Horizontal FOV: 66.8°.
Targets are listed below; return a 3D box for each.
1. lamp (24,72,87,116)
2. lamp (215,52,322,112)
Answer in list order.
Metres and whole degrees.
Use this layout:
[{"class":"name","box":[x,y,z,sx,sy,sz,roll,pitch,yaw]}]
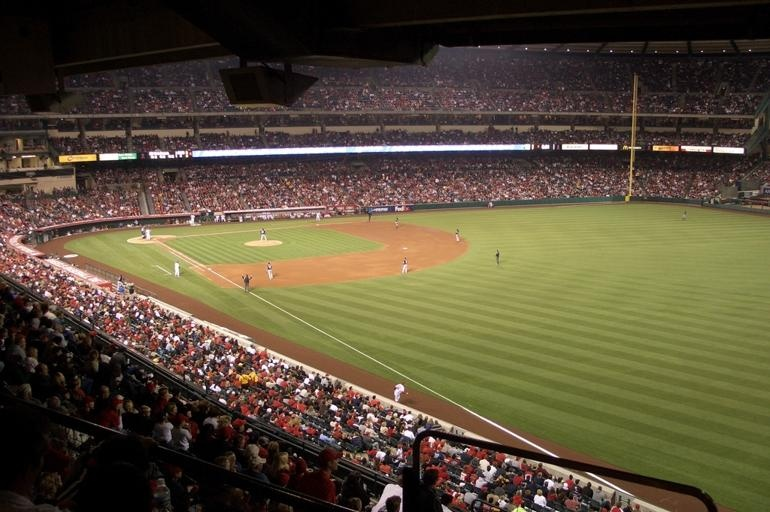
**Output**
[{"class":"lamp","box":[-8.120,-4.020,14.021,0.917,0.650,1.153,15,25,36]},{"class":"lamp","box":[-2.175,-3.215,10.655,1.185,0.736,1.227,10,17,35]}]
